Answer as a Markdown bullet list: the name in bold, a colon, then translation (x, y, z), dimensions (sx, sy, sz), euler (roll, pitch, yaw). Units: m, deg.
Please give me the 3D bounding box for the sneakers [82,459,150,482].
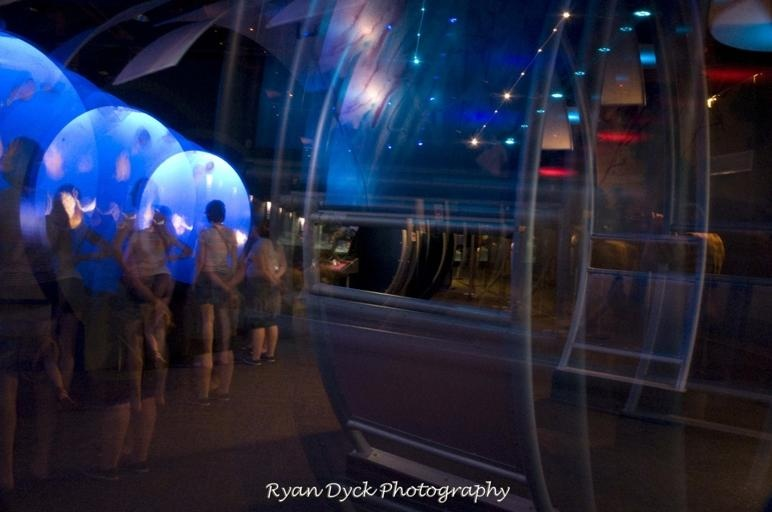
- **sneakers**: translation (-2.700, 2.163, 5.886), dimensions (0.673, 0.241, 0.237), euler (-1, -11, 0)
